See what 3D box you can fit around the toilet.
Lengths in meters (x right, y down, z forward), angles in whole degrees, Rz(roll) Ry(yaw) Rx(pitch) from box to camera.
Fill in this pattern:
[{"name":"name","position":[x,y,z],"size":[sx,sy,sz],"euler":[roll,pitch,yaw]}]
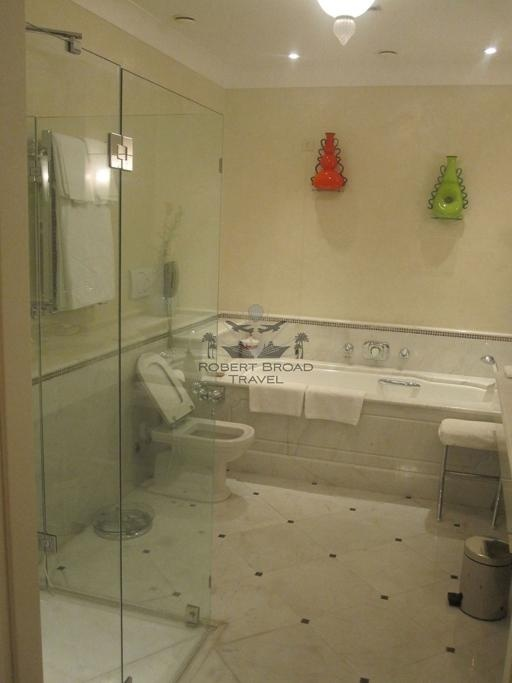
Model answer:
[{"name":"toilet","position":[-0.180,0.251,1.709],"size":[0.336,0.425,0.214],"euler":[3,9,13]}]

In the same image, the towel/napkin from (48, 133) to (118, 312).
[{"name":"towel/napkin","position":[-0.346,-0.235,1.135],"size":[0.040,0.338,0.201],"euler":[3,8,17]}]

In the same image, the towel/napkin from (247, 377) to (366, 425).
[{"name":"towel/napkin","position":[0.273,0.342,3.125],"size":[0.645,0.194,0.062],"euler":[4,8,16]}]
